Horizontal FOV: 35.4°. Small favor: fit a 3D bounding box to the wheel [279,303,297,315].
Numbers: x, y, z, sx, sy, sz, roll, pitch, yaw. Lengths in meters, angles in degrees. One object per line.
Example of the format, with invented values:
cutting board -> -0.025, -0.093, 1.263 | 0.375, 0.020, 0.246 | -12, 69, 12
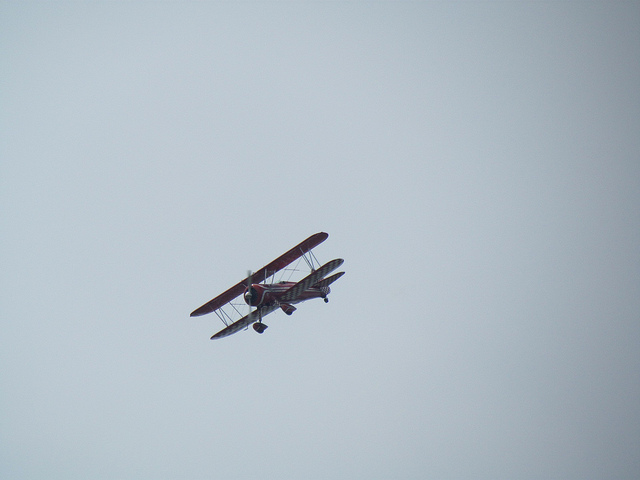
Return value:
wheel -> -0.442, 0.904, 13.309 | 0.177, 0.115, 0.084 | 26, -88, 26
